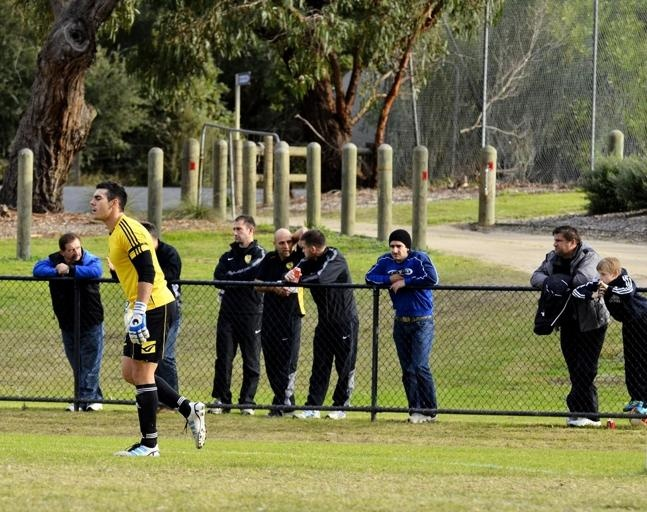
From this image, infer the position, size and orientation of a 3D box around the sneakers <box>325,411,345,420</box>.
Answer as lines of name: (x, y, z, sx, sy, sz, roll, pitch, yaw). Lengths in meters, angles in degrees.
sneakers: (0.190, 2.276, 21.113, 0.180, 0.095, 0.127, 3, 8, 0)

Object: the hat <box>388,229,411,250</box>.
hat: (1.115, -0.265, 21.128, 0.239, 0.252, 0.277, -1, -37, 33)

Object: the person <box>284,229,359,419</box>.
person: (0.050, 0.965, 21.060, 0.936, 2.685, 0.725, 0, 0, -6)

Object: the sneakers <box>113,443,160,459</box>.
sneakers: (-2.374, 2.510, 18.671, 0.556, 0.252, 0.221, 5, -11, -13)

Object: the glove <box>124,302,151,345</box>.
glove: (-2.361, 0.885, 18.680, 0.260, 0.581, 0.153, 0, -11, -7)

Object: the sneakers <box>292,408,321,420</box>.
sneakers: (-0.232, 2.261, 21.073, 0.408, 0.226, 0.155, 9, -7, -21)

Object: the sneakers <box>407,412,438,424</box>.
sneakers: (1.406, 2.303, 20.618, 0.385, 0.200, 0.153, 8, -17, -20)

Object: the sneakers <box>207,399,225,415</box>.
sneakers: (-1.535, 2.146, 21.068, 0.128, 0.174, 0.363, 2, -12, -1)

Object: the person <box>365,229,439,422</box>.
person: (1.206, 0.966, 20.899, 0.983, 2.679, 0.753, 0, 0, 18)
